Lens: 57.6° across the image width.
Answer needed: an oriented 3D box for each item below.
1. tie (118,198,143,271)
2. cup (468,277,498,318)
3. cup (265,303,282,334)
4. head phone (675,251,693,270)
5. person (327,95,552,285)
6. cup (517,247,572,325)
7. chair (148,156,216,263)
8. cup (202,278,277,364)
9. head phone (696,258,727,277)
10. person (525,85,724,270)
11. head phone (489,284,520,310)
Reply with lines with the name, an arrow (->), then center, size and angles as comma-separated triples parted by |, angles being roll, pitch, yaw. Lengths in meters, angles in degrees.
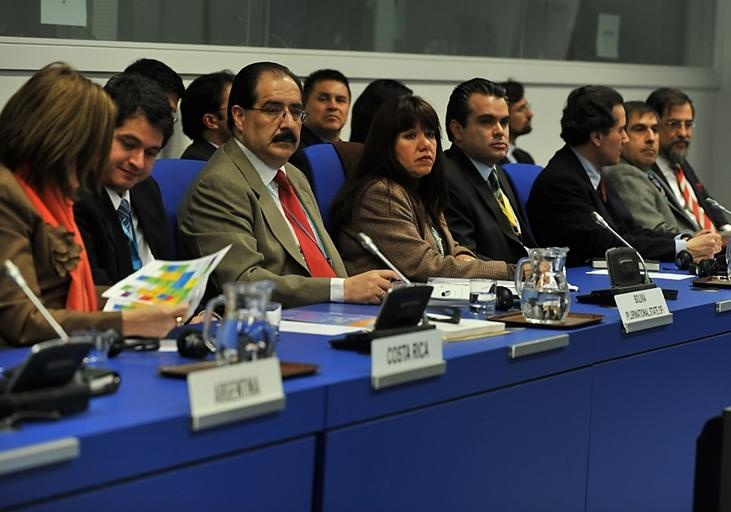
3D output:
tie -> -0.809, -0.071, 2.306 | 0.074, 0.308, 0.035 | -11, 9, -26
cup -> 0.361, 0.128, 2.049 | 0.090, 0.110, 0.097 | 0, 0, 0
cup -> -0.216, 0.151, 1.597 | 0.060, 0.072, 0.062 | 0, 7, 0
head phone -> 1.486, 0.024, 3.107 | 0.069, 0.081, 0.083 | -5, 9, -31
person -> 0.334, -0.256, 2.951 | 0.898, 0.877, 0.567 | -6, -1, 26
cup -> 0.501, 0.085, 1.978 | 0.194, 0.250, 0.172 | -1, 3, 3
chair -> -0.740, -0.193, 2.669 | 0.289, 0.395, 0.316 | 2, -7, -22
cup -> -0.251, 0.137, 1.336 | 0.152, 0.216, 0.111 | 2, 13, -7
head phone -> 1.472, 0.059, 2.827 | 0.084, 0.041, 0.112 | -2, -3, 11
person -> 1.315, -0.451, 3.954 | 1.148, 1.315, 0.791 | -1, 4, 14
head phone -> 0.438, 0.131, 2.110 | 0.066, 0.054, 0.089 | 11, 8, -23
